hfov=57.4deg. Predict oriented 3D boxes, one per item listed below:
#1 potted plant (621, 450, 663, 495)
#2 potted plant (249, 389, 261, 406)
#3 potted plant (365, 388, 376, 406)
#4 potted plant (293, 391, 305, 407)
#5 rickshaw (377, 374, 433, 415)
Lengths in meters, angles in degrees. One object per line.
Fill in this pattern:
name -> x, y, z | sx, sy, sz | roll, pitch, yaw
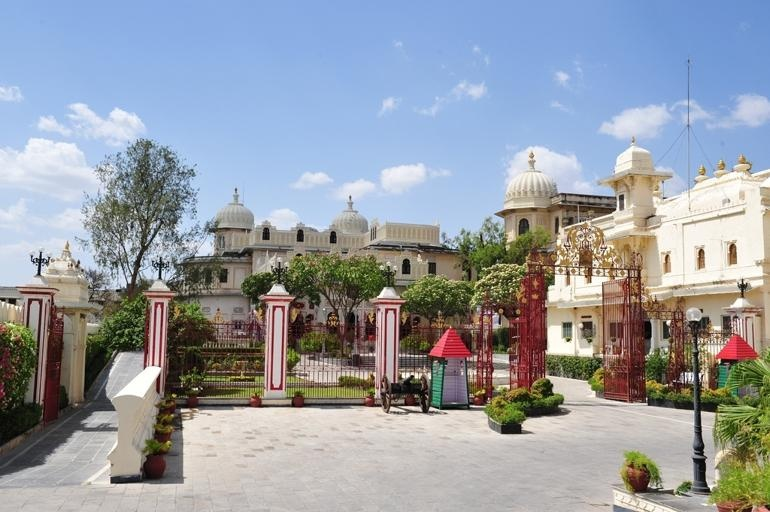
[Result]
potted plant -> 5.201, 4.342, 14.214 | 0.949, 0.738, 0.564 | 7, -11, -37
potted plant -> -4.431, 4.947, 24.138 | 0.367, 0.317, 0.363 | -2, -5, 16
potted plant -> -0.516, 5.083, 25.047 | 0.324, 0.472, 0.336 | -3, -7, 17
potted plant -> -2.970, 4.979, 24.471 | 0.395, 0.505, 0.410 | 1, -2, -1
rickshaw -> 0.760, 4.667, 24.291 | 2.025, 1.289, 2.461 | 4, 4, 24
